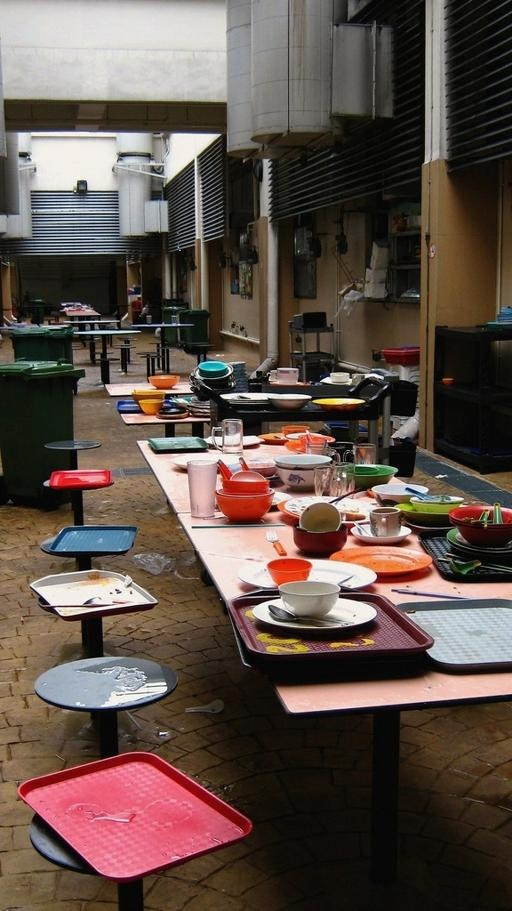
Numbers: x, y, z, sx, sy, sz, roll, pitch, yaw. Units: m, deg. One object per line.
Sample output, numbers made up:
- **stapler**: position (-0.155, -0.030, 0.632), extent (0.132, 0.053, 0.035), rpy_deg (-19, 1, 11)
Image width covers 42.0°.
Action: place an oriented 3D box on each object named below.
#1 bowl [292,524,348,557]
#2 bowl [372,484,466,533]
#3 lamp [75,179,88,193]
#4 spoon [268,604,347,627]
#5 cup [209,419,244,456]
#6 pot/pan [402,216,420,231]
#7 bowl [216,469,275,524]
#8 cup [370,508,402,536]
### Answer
- **bowl**: position (0.166, 0.223, 1.739), extent (0.137, 0.076, 0.113), rpy_deg (0, 6, 1)
- **bowl**: position (0.491, 0.148, 2.035), extent (0.140, 0.053, 0.203), rpy_deg (0, 8, -17)
- **lamp**: position (-6.248, -9.654, 23.963), extent (0.403, 0.427, 0.626), rpy_deg (-2, 6, -17)
- **spoon**: position (0.085, 0.276, 1.146), extent (0.100, 0.019, 0.026), rpy_deg (5, 13, 21)
- **cup**: position (-0.146, -0.086, 2.943), extent (0.173, 0.198, 0.110), rpy_deg (-1, 13, -8)
- **pot/pan**: position (1.865, -2.795, 7.991), extent (0.197, 0.139, 0.212), rpy_deg (0, 30, 0)
- **bowl**: position (-0.032, 0.126, 2.131), extent (0.115, 0.093, 0.195), rpy_deg (-2, 13, 0)
- **cup**: position (0.344, 0.173, 1.793), extent (0.060, 0.063, 0.076), rpy_deg (-11, 9, -42)
